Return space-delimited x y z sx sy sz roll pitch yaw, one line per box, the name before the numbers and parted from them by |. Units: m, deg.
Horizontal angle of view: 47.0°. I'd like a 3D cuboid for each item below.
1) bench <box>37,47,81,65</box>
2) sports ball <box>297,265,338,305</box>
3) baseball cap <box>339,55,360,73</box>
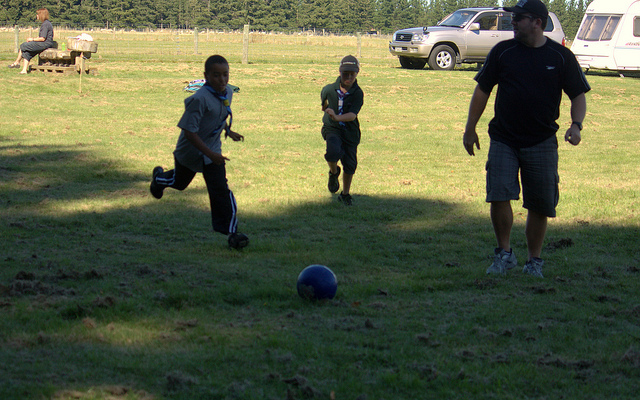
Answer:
bench | -8.550 -4.704 24.060 1.948 0.549 0.645 0 2 16
sports ball | 0.020 1.076 9.558 0.469 0.459 0.484 -26 10 5
baseball cap | 0.517 -2.297 12.428 0.241 0.198 0.334 5 10 1
